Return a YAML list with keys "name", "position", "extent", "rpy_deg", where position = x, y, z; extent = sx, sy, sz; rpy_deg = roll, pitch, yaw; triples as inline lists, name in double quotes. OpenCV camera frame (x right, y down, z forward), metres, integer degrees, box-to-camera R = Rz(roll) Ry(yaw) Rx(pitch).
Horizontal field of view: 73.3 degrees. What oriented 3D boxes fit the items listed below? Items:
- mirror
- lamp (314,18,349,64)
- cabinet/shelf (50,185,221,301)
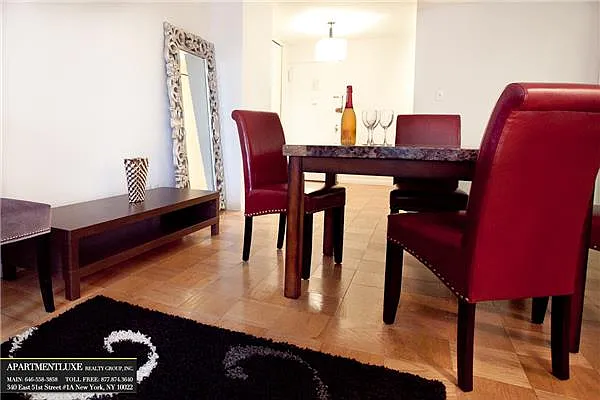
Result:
- name: "mirror"
  position: [-1.102, -0.793, 4.259]
  extent: [0.180, 1.933, 0.810]
  rpy_deg: [5, 15, 28]
- name: "lamp"
  position: [0.483, -2.355, 6.025]
  extent: [0.395, 0.597, 0.840]
  rpy_deg: [0, 13, 8]
- name: "cabinet/shelf"
  position: [-1.300, 0.234, 3.102]
  extent: [0.589, 0.464, 1.341]
  rpy_deg: [6, 15, 29]
